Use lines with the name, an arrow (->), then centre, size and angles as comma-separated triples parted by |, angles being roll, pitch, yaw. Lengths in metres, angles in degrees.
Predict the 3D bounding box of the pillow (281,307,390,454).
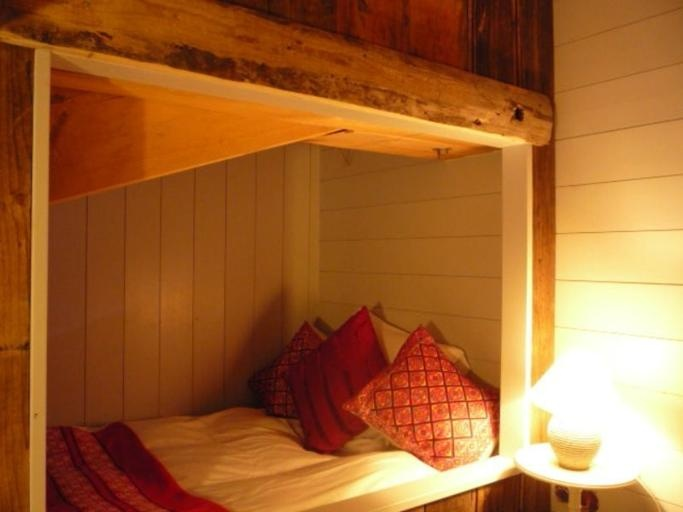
pillow -> -0.044, 0.744, 3.528 | 0.202, 0.692, 0.643 | 23, -56, -30

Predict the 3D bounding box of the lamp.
lamp -> 0.996, 0.701, 2.875 | 0.384, 0.468, 0.580 | 2, -93, 6
